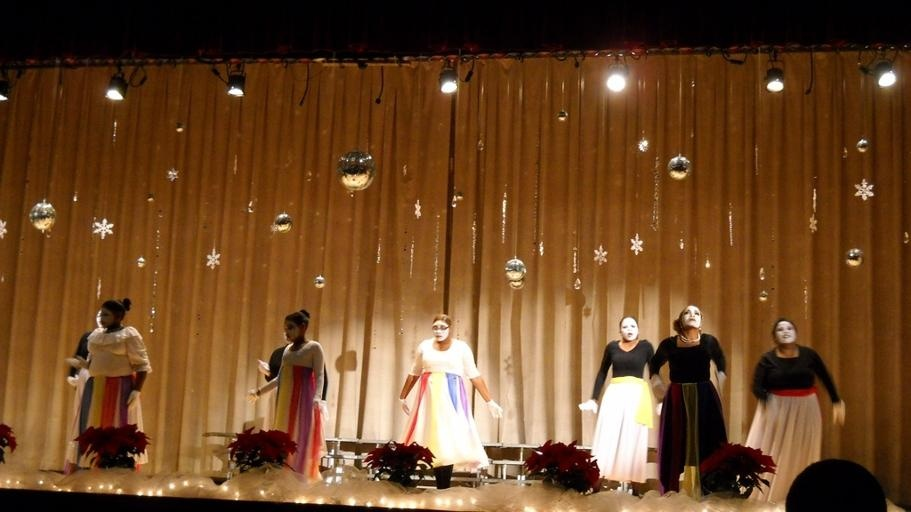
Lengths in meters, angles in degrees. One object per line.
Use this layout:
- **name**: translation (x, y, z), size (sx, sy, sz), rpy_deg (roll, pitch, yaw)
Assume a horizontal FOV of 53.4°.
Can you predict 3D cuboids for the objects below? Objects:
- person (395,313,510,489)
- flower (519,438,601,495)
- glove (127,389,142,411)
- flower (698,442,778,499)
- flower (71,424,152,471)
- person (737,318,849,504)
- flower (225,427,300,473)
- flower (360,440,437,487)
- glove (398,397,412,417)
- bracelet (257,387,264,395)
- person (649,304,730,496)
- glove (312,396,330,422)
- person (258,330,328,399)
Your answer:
- **person**: translation (-0.116, 1.725, 10.917), size (1.060, 2.002, 0.427), rpy_deg (3, -15, -5)
- **flower**: translation (1.033, 2.191, 9.636), size (0.788, 0.454, 0.817), rpy_deg (-1, -15, -18)
- **glove**: translation (-3.820, 1.659, 10.780), size (0.071, 0.153, 0.212), rpy_deg (15, 9, 19)
- **flower**: translation (2.914, 2.218, 9.449), size (0.736, 0.550, 0.237), rpy_deg (-3, -15, 13)
- **flower**: translation (-3.716, 2.050, 9.921), size (0.757, 0.425, 0.748), rpy_deg (6, 1, 38)
- **person**: translation (3.883, 1.758, 10.507), size (1.016, 2.030, 0.599), rpy_deg (-4, -16, 17)
- **flower**: translation (-2.084, 2.067, 9.808), size (0.767, 0.413, 0.770), rpy_deg (-6, 1, 16)
- **flower**: translation (-0.535, 2.177, 9.704), size (0.613, 0.247, 0.623), rpy_deg (-4, -8, 42)
- **glove**: translation (-0.623, 1.867, 11.195), size (0.130, 0.165, 0.419), rpy_deg (-16, -30, -3)
- **bracelet**: translation (-2.305, 1.583, 10.654), size (0.072, 0.052, 0.072), rpy_deg (0, -2, 21)
- **person**: translation (2.602, 1.598, 10.216), size (0.788, 2.050, 0.775), rpy_deg (-13, -21, 43)
- **glove**: translation (-1.557, 1.772, 10.552), size (0.128, 0.246, 0.275), rpy_deg (-3, -15, 15)
- **person**: translation (-1.953, 1.325, 10.953), size (0.662, 0.803, 0.568), rpy_deg (-20, -36, 32)
